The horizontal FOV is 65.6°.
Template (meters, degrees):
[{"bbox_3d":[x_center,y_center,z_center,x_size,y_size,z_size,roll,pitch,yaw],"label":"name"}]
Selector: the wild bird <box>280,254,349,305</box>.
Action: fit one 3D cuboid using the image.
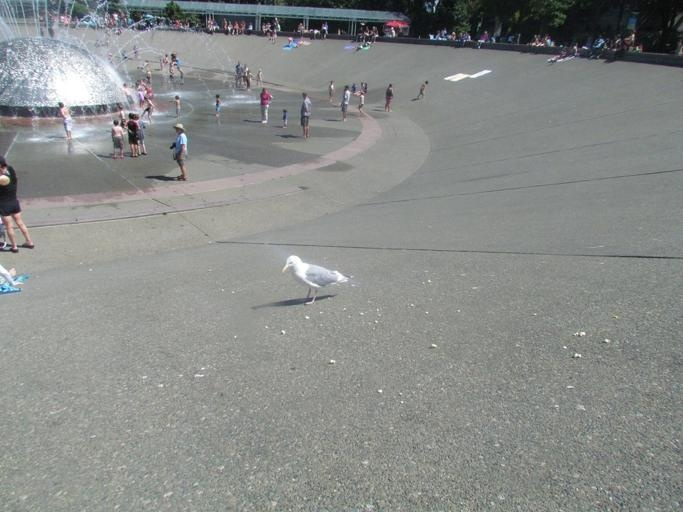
[{"bbox_3d":[-0.643,0.357,8.678,1.323,0.969,0.585,-1,12,-11],"label":"wild bird"}]
